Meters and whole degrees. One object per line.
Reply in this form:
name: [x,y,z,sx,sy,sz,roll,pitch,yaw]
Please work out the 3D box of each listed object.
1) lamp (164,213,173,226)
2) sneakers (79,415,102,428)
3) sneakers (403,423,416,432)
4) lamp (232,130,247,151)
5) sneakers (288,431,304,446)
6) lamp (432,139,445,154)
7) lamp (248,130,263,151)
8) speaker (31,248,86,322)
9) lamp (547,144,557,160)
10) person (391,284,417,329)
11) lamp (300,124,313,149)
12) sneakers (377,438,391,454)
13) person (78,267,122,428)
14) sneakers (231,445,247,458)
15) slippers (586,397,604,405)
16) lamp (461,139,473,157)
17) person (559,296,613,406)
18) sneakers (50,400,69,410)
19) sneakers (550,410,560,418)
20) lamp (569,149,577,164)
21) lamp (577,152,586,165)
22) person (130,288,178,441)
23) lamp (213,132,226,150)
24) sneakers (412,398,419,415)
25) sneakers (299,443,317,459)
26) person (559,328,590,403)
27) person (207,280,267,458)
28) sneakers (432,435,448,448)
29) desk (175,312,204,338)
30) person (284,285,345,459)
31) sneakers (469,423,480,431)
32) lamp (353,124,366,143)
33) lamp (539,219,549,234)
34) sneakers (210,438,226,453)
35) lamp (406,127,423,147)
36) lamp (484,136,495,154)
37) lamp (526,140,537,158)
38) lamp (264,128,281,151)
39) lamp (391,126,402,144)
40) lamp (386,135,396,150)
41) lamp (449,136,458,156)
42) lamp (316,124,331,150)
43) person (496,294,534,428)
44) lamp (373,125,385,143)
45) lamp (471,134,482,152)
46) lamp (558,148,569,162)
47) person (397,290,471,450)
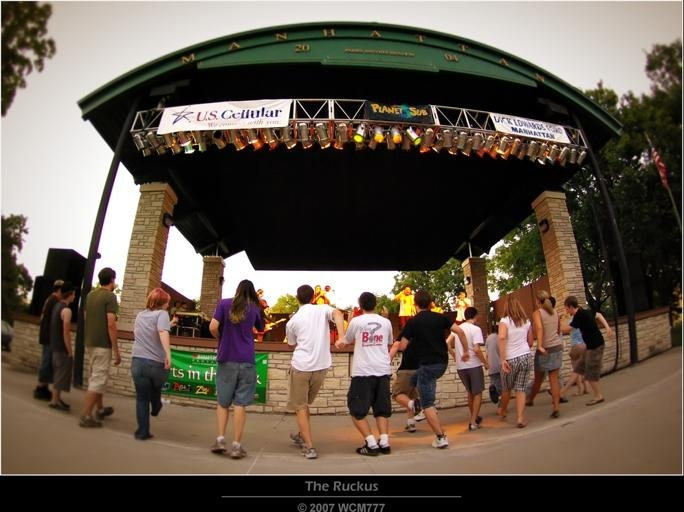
lamp: [-4.349,-0.925,10.694,0.163,0.284,0.308,0,-11,-1]
sneakers: [-3.714,2.441,6.304,0.308,0.155,0.158,17,-14,-28]
sneakers: [1.171,2.925,7.317,0.098,0.112,0.240,9,-24,-15]
lamp: [-2.245,-2.592,9.449,0.220,0.354,0.335,0,-12,6]
sneakers: [-0.722,2.797,6.578,0.343,0.154,0.125,-9,-34,40]
lamp: [2.268,-2.553,10.055,0.210,0.132,0.357,8,-26,10]
lamp: [-1.835,-2.599,9.565,0.332,0.556,0.345,-2,17,5]
speaker: [-4.841,0.522,7.299,0.666,1.303,0.726,5,-36,-13]
lamp: [4.902,-2.380,9.883,0.207,0.345,0.179,9,-14,-34]
person: [2.030,1.680,13.771,0.623,1.394,0.423,-3,-28,13]
lamp: [-0.799,-2.681,9.588,0.344,0.422,0.457,3,-12,-6]
sneakers: [0.610,2.680,6.060,0.184,0.204,0.079,3,-12,-8]
person: [-3.632,1.354,6.520,0.703,2.353,0.442,-3,-12,18]
sneakers: [-1.406,2.665,5.880,0.113,0.136,0.292,-2,-14,10]
slippers: [4.249,2.432,7.165,0.310,0.089,0.116,-13,-17,10]
lamp: [2.909,-2.512,9.933,0.226,0.278,0.304,-2,-12,14]
person: [4.343,1.626,7.516,0.675,1.805,0.975,-6,-14,33]
sneakers: [-4.336,2.299,6.597,0.279,0.114,0.139,25,-6,-29]
sneakers: [3.530,2.584,7.061,0.139,0.120,0.273,-5,-13,27]
lamp: [5.387,-2.329,9.940,0.158,0.435,0.125,11,-20,11]
lamp: [5.622,-2.315,10.012,0.213,0.257,0.195,8,-14,-30]
person: [-2.768,1.554,6.253,0.561,2.165,0.415,2,-12,-5]
lamp: [-2.720,-2.594,9.514,0.294,0.329,0.148,11,-16,-40]
sneakers: [1.313,2.659,7.603,0.140,0.185,0.425,-3,-36,3]
sneakers: [-0.515,2.782,6.151,0.147,0.176,0.397,8,-20,-26]
person: [4.232,1.997,7.744,0.437,1.424,0.472,-7,-54,28]
person: [-1.510,1.538,6.037,0.731,2.430,0.360,4,-12,-13]
sneakers: [1.483,2.697,6.285,0.266,0.199,0.240,2,-12,-3]
desk: [-4.234,1.859,11.873,0.871,0.689,1.747,5,-12,-16]
person: [-0.446,1.644,6.378,0.769,2.451,0.660,2,-12,-1]
sneakers: [2.177,2.780,7.021,0.076,0.077,0.190,-4,-7,43]
lamp: [0.409,-2.775,9.758,0.274,0.353,0.307,1,-12,1]
lamp: [5.372,-0.801,11.339,0.183,0.328,0.367,3,-6,-12]
sneakers: [-1.697,2.611,5.901,0.118,0.140,0.290,9,-23,-23]
lamp: [1.675,-2.737,9.813,0.413,0.373,0.170,8,-13,-28]
lamp: [3.412,-2.561,9.868,0.282,0.357,0.265,4,-12,-15]
lamp: [4.397,-2.465,9.859,0.198,0.358,0.210,-9,-15,39]
lamp: [-1.558,-2.654,9.570,0.377,0.317,0.518,0,-12,7]
lamp: [1.241,-2.748,9.747,0.248,0.398,0.242,13,-27,-26]
lamp: [1.140,-2.631,9.925,0.237,0.259,0.264,2,-37,-6]
lamp: [2.577,-2.565,9.878,0.191,0.314,0.243,-2,-12,16]
lamp: [-0.410,-2.710,9.588,0.234,0.446,0.427,-5,-13,28]
person: [2.915,1.711,7.120,0.551,2.109,0.782,-3,-13,20]
lamp: [0.865,-2.773,9.758,0.283,0.354,0.194,6,-13,-22]
lamp: [3.103,-2.592,9.880,0.287,0.565,0.298,0,1,16]
lamp: [5.158,-2.339,9.924,0.248,0.336,0.208,-2,-12,15]
person: [1.347,1.660,6.488,1.090,2.298,0.499,-1,-12,11]
